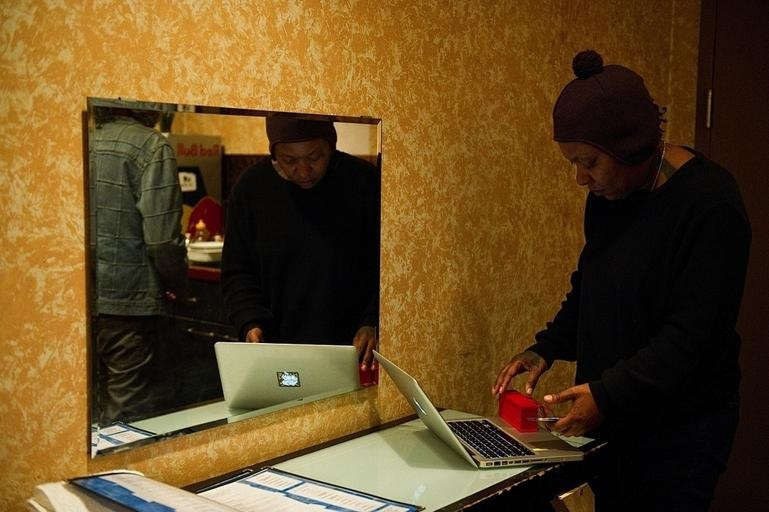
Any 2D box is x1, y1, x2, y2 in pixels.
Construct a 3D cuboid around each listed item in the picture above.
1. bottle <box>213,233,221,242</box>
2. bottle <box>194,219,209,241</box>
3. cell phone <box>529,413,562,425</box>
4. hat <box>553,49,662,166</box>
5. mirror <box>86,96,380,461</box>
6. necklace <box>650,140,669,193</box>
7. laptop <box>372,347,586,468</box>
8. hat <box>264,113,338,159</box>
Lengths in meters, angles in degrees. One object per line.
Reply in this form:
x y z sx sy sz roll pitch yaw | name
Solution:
-0.466 -0.049 1.820 0.004 0.028 0.027 11 14 42 | bottle
-0.502 -0.065 1.785 0.049 0.053 0.047 -6 8 -45 | bottle
0.493 0.508 2.028 0.077 0.021 0.077 -1 1 6 | cell phone
0.670 -0.444 1.973 0.313 0.329 0.146 4 11 15 | hat
-0.454 0.058 1.841 1.079 1.062 0.038 -3 6 -41 | mirror
0.838 -0.264 2.045 0.028 0.116 0.089 7 -15 1 | necklace
0.313 0.401 1.966 0.436 0.256 0.401 -9 14 -22 | laptop
-0.254 -0.350 1.942 0.144 0.080 0.119 1 7 26 | hat
